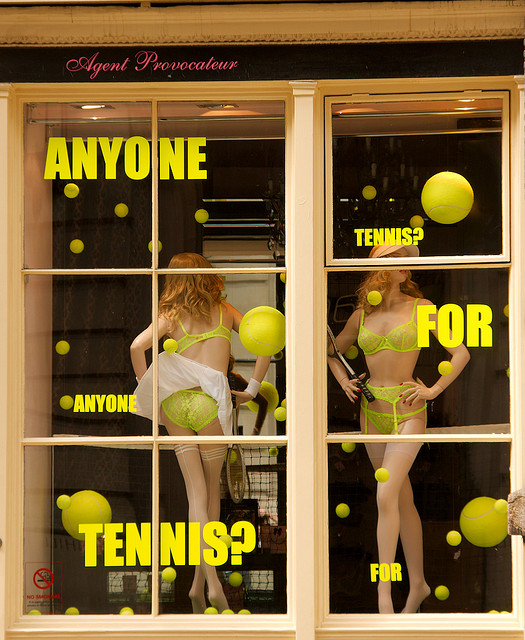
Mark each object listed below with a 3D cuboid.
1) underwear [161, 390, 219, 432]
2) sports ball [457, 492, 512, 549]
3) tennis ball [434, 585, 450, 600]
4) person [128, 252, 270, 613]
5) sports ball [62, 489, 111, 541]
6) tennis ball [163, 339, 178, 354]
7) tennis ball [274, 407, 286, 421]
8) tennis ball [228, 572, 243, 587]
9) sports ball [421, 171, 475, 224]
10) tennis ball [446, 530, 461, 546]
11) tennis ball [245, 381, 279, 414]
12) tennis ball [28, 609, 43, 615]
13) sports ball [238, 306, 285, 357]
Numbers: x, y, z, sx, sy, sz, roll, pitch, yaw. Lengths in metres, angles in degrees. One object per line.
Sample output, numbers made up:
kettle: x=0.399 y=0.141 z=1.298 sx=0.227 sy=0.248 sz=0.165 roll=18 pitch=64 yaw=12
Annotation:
underwear: x=-0.287 y=0.351 z=4.716 sx=0.209 sy=0.161 sz=0.066 roll=13 pitch=-4 yaw=-5
sports ball: x=0.885 y=0.809 z=4.768 sx=0.192 sy=0.260 sz=0.250 roll=-5 pitch=27 yaw=1
tennis ball: x=0.712 y=1.072 z=4.680 sx=0.048 sy=0.056 sz=0.032 roll=-11 pitch=-3 yaw=2
person: x=-0.233 y=0.441 z=4.726 sx=0.543 sy=1.538 sz=0.304 roll=-4 pitch=-24 yaw=5
sports ball: x=-0.712 y=0.798 z=4.787 sx=0.202 sy=0.243 sz=0.215 roll=0 pitch=-4 yaw=0
tennis ball: x=-0.371 y=0.094 z=4.770 sx=0.050 sy=0.056 sz=0.054 roll=-18 pitch=-35 yaw=-13
tennis ball: x=0.070 y=0.368 z=4.679 sx=0.042 sy=0.047 sz=0.044 roll=1 pitch=-4 yaw=0
tennis ball: x=-0.103 y=1.020 z=4.656 sx=0.041 sy=0.057 sz=0.046 roll=1 pitch=-16 yaw=15
sports ball: x=0.739 y=-0.476 z=4.758 sx=0.183 sy=0.217 sz=0.193 roll=-7 pitch=-1 yaw=0
tennis ball: x=0.757 y=0.865 z=4.704 sx=0.047 sy=0.064 sz=0.052 roll=-5 pitch=30 yaw=-3
tennis ball: x=-0.001 y=0.294 z=4.698 sx=0.103 sy=0.144 sz=0.111 roll=1 pitch=8 yaw=0
tennis ball: x=-0.891 y=1.150 z=4.661 sx=0.053 sy=0.020 sz=0.015 roll=-2 pitch=-4 yaw=-14
sports ball: x=0.006 y=0.047 z=4.815 sx=0.204 sy=0.241 sz=0.228 roll=0 pitch=24 yaw=-3
